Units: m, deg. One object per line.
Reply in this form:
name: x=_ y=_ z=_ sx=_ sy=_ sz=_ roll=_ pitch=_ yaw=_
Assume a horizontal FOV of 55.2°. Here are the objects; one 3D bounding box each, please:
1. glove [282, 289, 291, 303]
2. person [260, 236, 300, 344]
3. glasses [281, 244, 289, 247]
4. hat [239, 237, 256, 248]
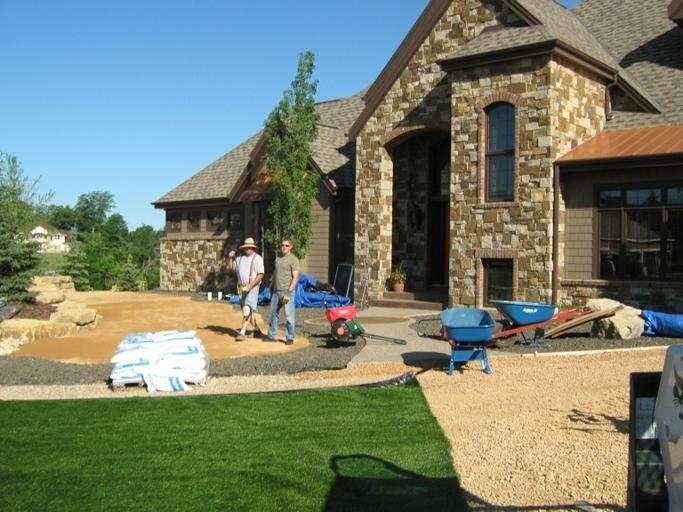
glove: x=-1.147 y=0.865 z=13.888 sx=0.162 sy=0.248 sz=0.072 roll=12 pitch=-11 yaw=12
person: x=-1.207 y=0.782 z=14.141 sx=0.909 sy=2.295 sz=0.444 roll=6 pitch=8 yaw=41
glasses: x=-1.184 y=-0.215 z=13.953 sx=0.130 sy=0.082 sz=0.130 roll=0 pitch=7 yaw=-3
hat: x=-2.812 y=-0.418 z=19.672 sx=0.516 sy=0.288 sz=0.563 roll=1 pitch=-6 yaw=4
